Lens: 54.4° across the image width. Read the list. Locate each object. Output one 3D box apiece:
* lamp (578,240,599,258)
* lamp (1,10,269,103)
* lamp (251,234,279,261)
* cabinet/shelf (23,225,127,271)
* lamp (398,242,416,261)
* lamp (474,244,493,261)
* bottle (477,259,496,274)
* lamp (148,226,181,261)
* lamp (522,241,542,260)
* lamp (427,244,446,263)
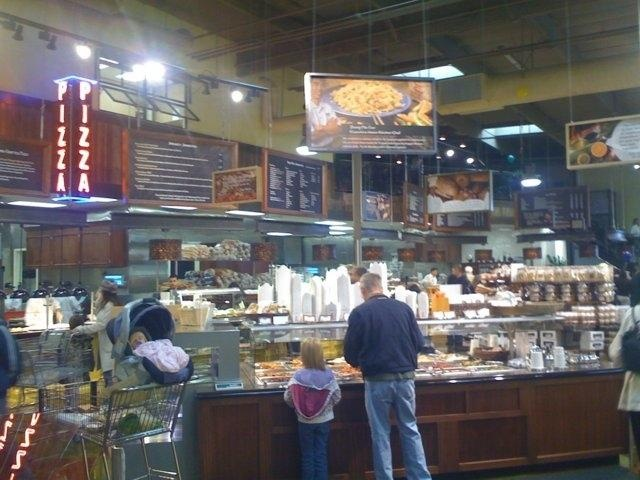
[{"bbox_3d":[7.826,0.264,18.207,0.530,0.524,0.525,-1,1,16],"label":"lamp"},{"bbox_3d":[-2.740,-2.754,9.228,2.003,1.011,3.486,-5,-5,41],"label":"lamp"},{"bbox_3d":[-1.287,0.174,13.694,0.553,0.566,0.608,-1,-1,40],"label":"lamp"},{"bbox_3d":[-4.698,0.120,11.972,2.509,0.887,0.380,-4,-4,32],"label":"cabinet/shelf"},{"bbox_3d":[2.395,0.399,17.127,0.736,0.336,0.231,1,-5,-41],"label":"lamp"},{"bbox_3d":[4.917,0.455,18.497,0.679,0.612,0.357,0,-3,2],"label":"lamp"},{"bbox_3d":[4.629,0.723,17.405,0.371,0.363,0.201,2,36,5],"label":"bottle"},{"bbox_3d":[-2.894,0.055,11.871,0.620,0.603,0.585,1,1,-4],"label":"lamp"},{"bbox_3d":[6.360,0.278,18.924,0.639,0.634,0.663,0,-2,38],"label":"lamp"},{"bbox_3d":[3.363,0.391,17.983,0.712,0.442,0.153,1,-4,-39],"label":"lamp"}]
